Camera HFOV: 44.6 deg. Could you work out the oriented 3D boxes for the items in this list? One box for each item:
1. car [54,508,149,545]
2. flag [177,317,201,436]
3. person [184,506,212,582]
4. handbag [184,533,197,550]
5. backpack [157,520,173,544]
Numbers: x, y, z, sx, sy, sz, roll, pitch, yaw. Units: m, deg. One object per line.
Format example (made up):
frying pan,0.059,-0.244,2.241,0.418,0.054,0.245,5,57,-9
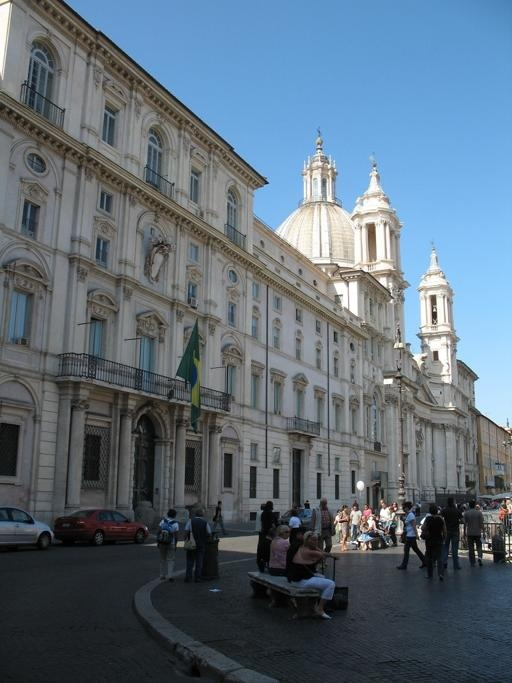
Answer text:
car,-5.861,7.137,24.397,1.466,1.117,3.463,-10,-17,37
flag,-3.089,1.513,29.604,0.928,5.283,2.293,2,-13,-5
person,-1.281,4.449,13.796,0.564,1.567,1.386,2,-13,-5
handbag,-1.407,4.339,13.535,0.207,0.402,0.401,1,-13,-2
backpack,-1.994,4.254,13.776,0.320,0.465,0.472,2,-46,-1
